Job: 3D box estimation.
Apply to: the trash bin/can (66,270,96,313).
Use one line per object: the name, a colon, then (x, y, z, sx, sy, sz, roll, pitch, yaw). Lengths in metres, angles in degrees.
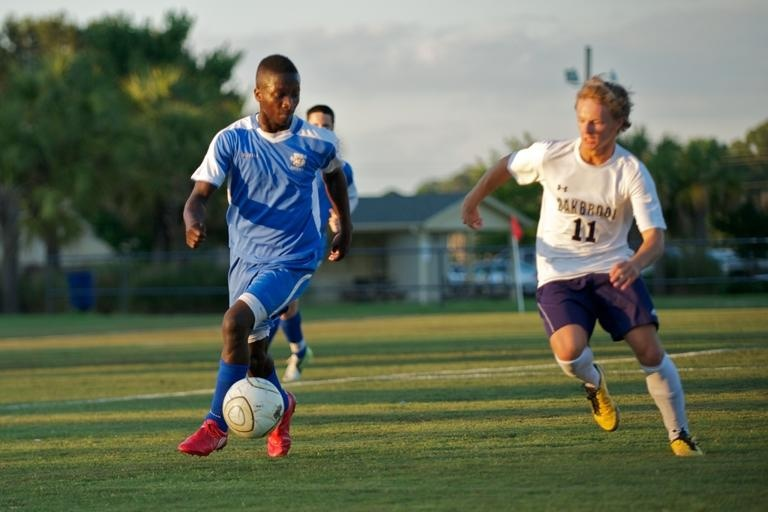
trash bin/can: (-3.527, 0.430, 15.201, 0.330, 0.590, 0.362, -1, -38, -13)

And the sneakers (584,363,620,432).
sneakers: (2.058, 1.367, 12.513, 0.253, 0.671, 0.278, -20, -7, 33)

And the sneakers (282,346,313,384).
sneakers: (-1.060, 1.269, 15.076, 0.180, 0.520, 0.229, 10, -24, 39)

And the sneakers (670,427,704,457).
sneakers: (2.729, 1.713, 12.006, 0.269, 0.191, 0.112, 25, 14, 17)

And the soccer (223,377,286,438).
soccer: (-1.215, 1.393, 12.075, 0.561, 0.514, 0.251, -3, 14, -6)
